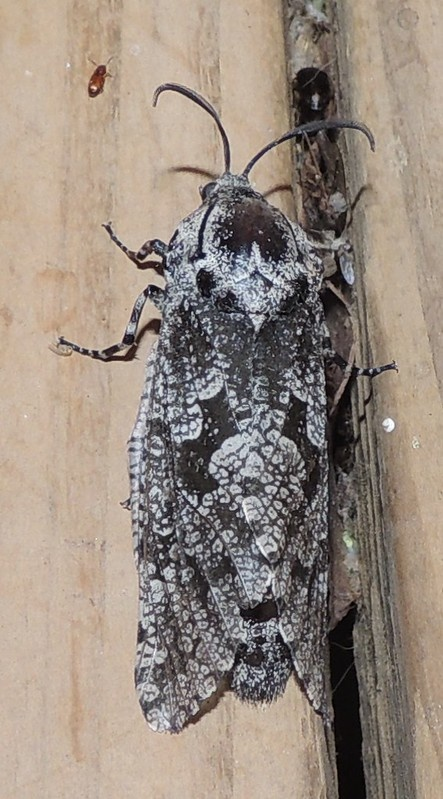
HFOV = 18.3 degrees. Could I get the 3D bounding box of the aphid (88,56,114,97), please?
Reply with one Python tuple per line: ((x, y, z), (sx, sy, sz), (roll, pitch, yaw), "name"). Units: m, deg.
((-0.464, -1.202, 5.130), (0.083, 0.037, 0.137), (6, 85, -8), "aphid")
